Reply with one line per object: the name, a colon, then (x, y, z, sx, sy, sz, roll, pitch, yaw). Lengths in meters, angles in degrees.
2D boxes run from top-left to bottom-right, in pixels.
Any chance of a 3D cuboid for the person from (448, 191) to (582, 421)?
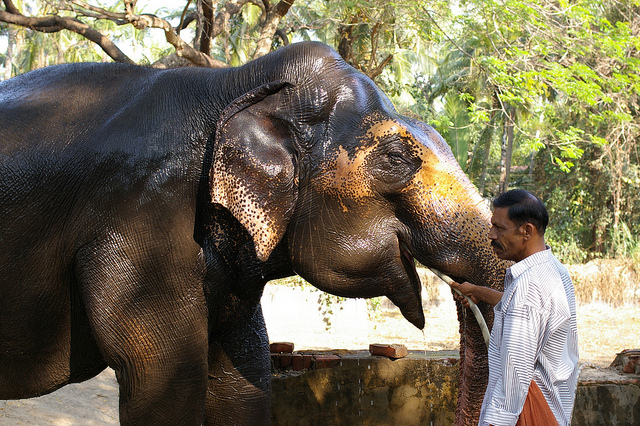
person: (1.040, 0.463, 3.714, 0.480, 1.128, 0.219, 1, -2, 7)
